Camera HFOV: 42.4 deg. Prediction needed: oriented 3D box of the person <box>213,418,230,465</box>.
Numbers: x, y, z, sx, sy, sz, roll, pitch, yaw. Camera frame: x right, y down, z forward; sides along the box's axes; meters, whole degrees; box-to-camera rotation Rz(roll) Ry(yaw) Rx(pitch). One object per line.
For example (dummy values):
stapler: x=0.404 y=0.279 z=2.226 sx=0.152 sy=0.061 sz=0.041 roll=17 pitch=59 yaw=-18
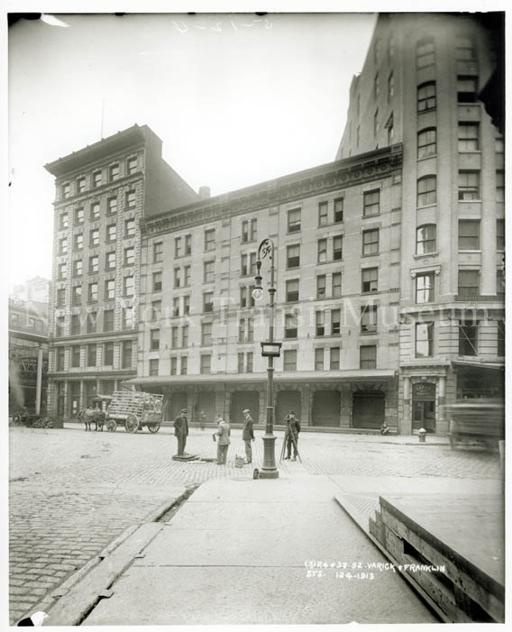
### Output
person: x=-0.675 y=2.550 z=13.201 sx=0.345 sy=1.057 sz=0.923 roll=0 pitch=9 yaw=-2

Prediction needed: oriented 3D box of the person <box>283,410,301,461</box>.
person: x=0.651 y=2.220 z=12.017 sx=0.291 sy=1.133 sz=0.852 roll=1 pitch=9 yaw=3

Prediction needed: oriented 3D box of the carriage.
carriage: x=-2.739 y=1.894 z=13.620 sx=1.219 sy=0.802 sz=0.866 roll=-3 pitch=-9 yaw=7

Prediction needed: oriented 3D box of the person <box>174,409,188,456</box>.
person: x=-1.527 y=2.502 z=13.610 sx=0.310 sy=0.880 sz=1.084 roll=0 pitch=10 yaw=-7
